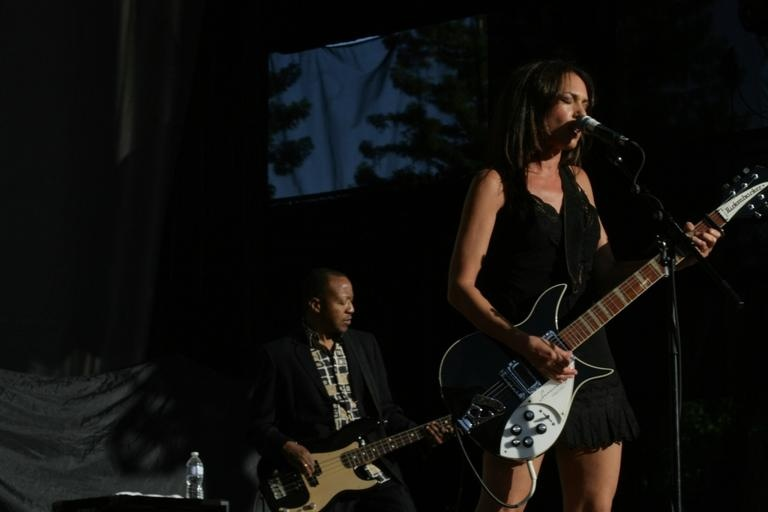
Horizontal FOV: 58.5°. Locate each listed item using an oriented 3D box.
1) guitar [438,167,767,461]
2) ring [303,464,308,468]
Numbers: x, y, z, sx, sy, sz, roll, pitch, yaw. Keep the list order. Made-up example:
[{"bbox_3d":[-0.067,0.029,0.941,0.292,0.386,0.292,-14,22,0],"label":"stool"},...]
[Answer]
[{"bbox_3d":[1.133,0.222,3.574,2.154,0.718,0.260,-40,-1,-3],"label":"guitar"},{"bbox_3d":[-0.511,1.375,4.468,0.025,0.016,0.027,3,-11,0],"label":"ring"}]
